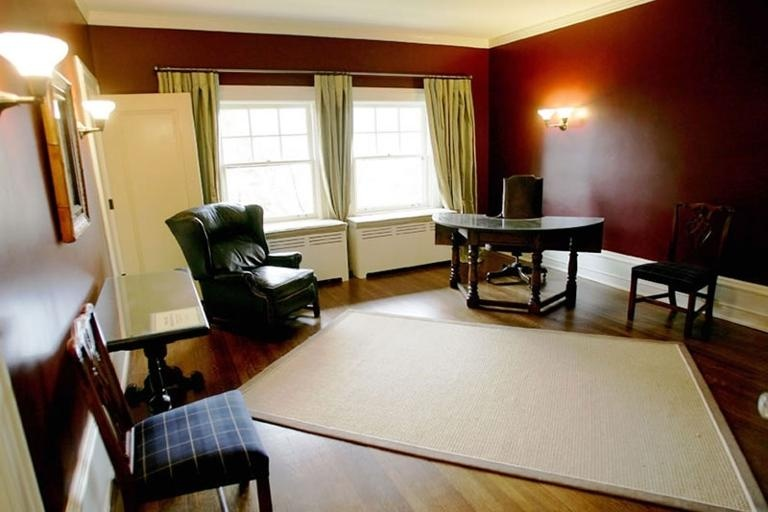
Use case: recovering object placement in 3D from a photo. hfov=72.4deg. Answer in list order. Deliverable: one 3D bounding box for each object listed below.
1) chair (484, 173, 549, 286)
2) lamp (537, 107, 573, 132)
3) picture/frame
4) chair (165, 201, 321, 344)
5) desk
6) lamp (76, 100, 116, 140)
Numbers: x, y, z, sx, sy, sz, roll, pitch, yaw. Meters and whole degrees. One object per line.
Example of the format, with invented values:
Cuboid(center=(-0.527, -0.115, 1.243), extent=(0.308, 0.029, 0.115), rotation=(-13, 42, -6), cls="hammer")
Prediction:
Cuboid(center=(1.465, -0.362, 5.791), extent=(0.831, 1.275, 0.865), rotation=(-4, 6, -26), cls="chair")
Cuboid(center=(1.989, -1.631, 6.246), extent=(0.247, 0.273, 0.527), rotation=(-11, 16, -29), cls="lamp")
Cuboid(center=(-2.118, -0.660, 3.466), extent=(0.114, 1.106, 0.846), rotation=(-9, 15, -23), cls="picture/frame")
Cuboid(center=(-1.422, 0.074, 5.217), extent=(1.108, 1.034, 0.882), rotation=(10, 21, 27), cls="chair")
Cuboid(center=(1.434, -0.153, 5.536), extent=(1.425, 0.738, 1.131), rotation=(4, 17, 16), cls="desk")
Cuboid(center=(-2.241, -1.083, 4.066), extent=(0.288, 0.251, 0.226), rotation=(-17, 28, -38), cls="lamp")
